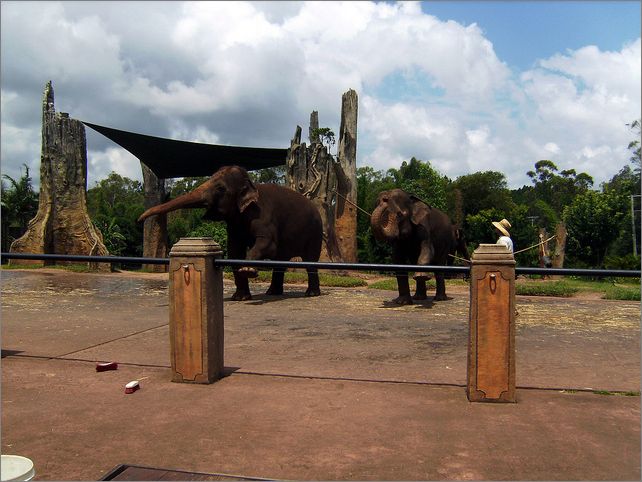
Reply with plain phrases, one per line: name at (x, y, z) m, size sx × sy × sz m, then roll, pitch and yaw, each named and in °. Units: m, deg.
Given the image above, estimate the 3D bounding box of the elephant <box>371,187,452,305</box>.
elephant at (1.720, 0.098, 9.261) m, size 0.982 × 2.151 × 2.355 m, roll 3°, pitch 5°, yaw 34°
